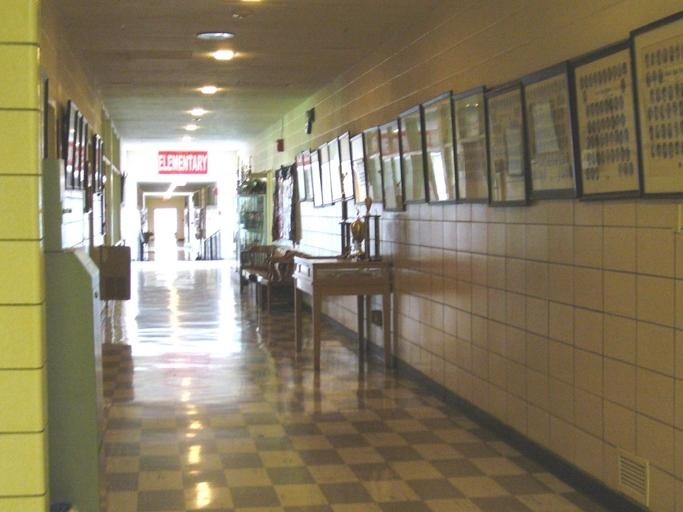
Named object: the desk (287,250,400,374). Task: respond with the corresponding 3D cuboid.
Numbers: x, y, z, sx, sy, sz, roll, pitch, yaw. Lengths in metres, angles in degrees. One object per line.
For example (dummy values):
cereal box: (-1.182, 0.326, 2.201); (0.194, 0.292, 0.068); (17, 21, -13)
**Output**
desk: (0.004, 0.580, 6.494); (1.015, 1.126, 1.192); (0, 4, -9)
